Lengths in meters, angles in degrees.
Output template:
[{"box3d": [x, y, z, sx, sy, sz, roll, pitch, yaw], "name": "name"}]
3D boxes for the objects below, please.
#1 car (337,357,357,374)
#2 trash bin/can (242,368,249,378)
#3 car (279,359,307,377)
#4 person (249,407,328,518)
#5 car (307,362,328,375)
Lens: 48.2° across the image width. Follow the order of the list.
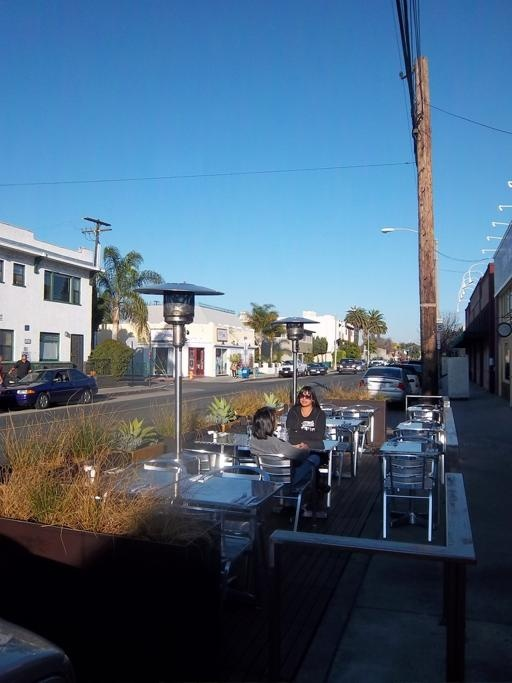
[{"box3d": [9.338, 2.598, 58.662, 1.860, 1.452, 2.285, -2, -3, 13], "name": "car"}, {"box3d": [-0.855, 2.458, 44.900, 0.587, 1.206, 0.638, -2, 5, 0], "name": "trash bin/can"}, {"box3d": [2.973, 2.351, 47.709, 1.603, 1.365, 3.776, -1, -4, 13], "name": "car"}, {"box3d": [0.302, 1.219, 5.759, 0.634, 1.130, 0.540, -4, -6, -44], "name": "person"}, {"box3d": [5.326, 2.508, 50.785, 1.774, 1.020, 1.242, -1, -3, -8], "name": "car"}]
